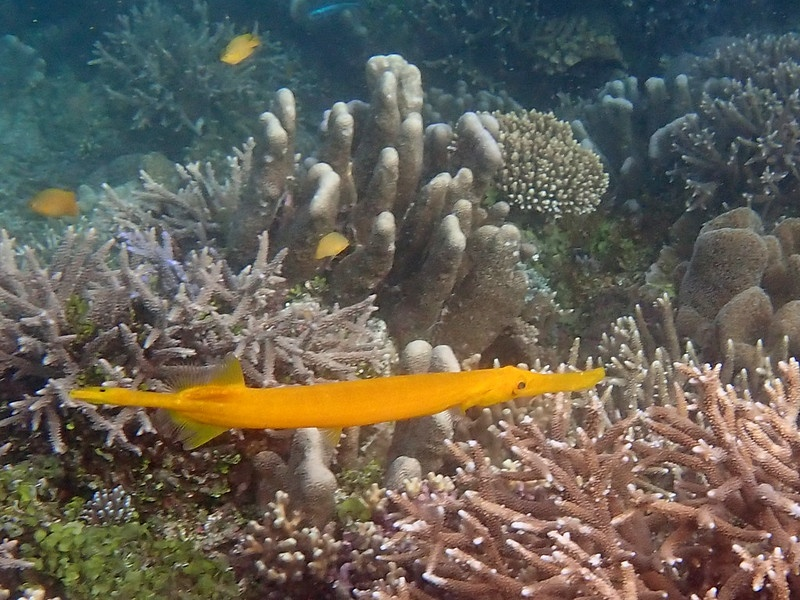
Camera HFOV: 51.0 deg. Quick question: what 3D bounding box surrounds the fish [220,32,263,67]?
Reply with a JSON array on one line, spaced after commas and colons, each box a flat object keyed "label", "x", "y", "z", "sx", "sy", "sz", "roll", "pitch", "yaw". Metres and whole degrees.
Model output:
[{"label": "fish", "x": -1.820, "y": -2.851, "z": 9.465, "sx": 0.459, "sy": 0.296, "sz": 0.290, "roll": -31, "pitch": 75, "yaw": -6}]
